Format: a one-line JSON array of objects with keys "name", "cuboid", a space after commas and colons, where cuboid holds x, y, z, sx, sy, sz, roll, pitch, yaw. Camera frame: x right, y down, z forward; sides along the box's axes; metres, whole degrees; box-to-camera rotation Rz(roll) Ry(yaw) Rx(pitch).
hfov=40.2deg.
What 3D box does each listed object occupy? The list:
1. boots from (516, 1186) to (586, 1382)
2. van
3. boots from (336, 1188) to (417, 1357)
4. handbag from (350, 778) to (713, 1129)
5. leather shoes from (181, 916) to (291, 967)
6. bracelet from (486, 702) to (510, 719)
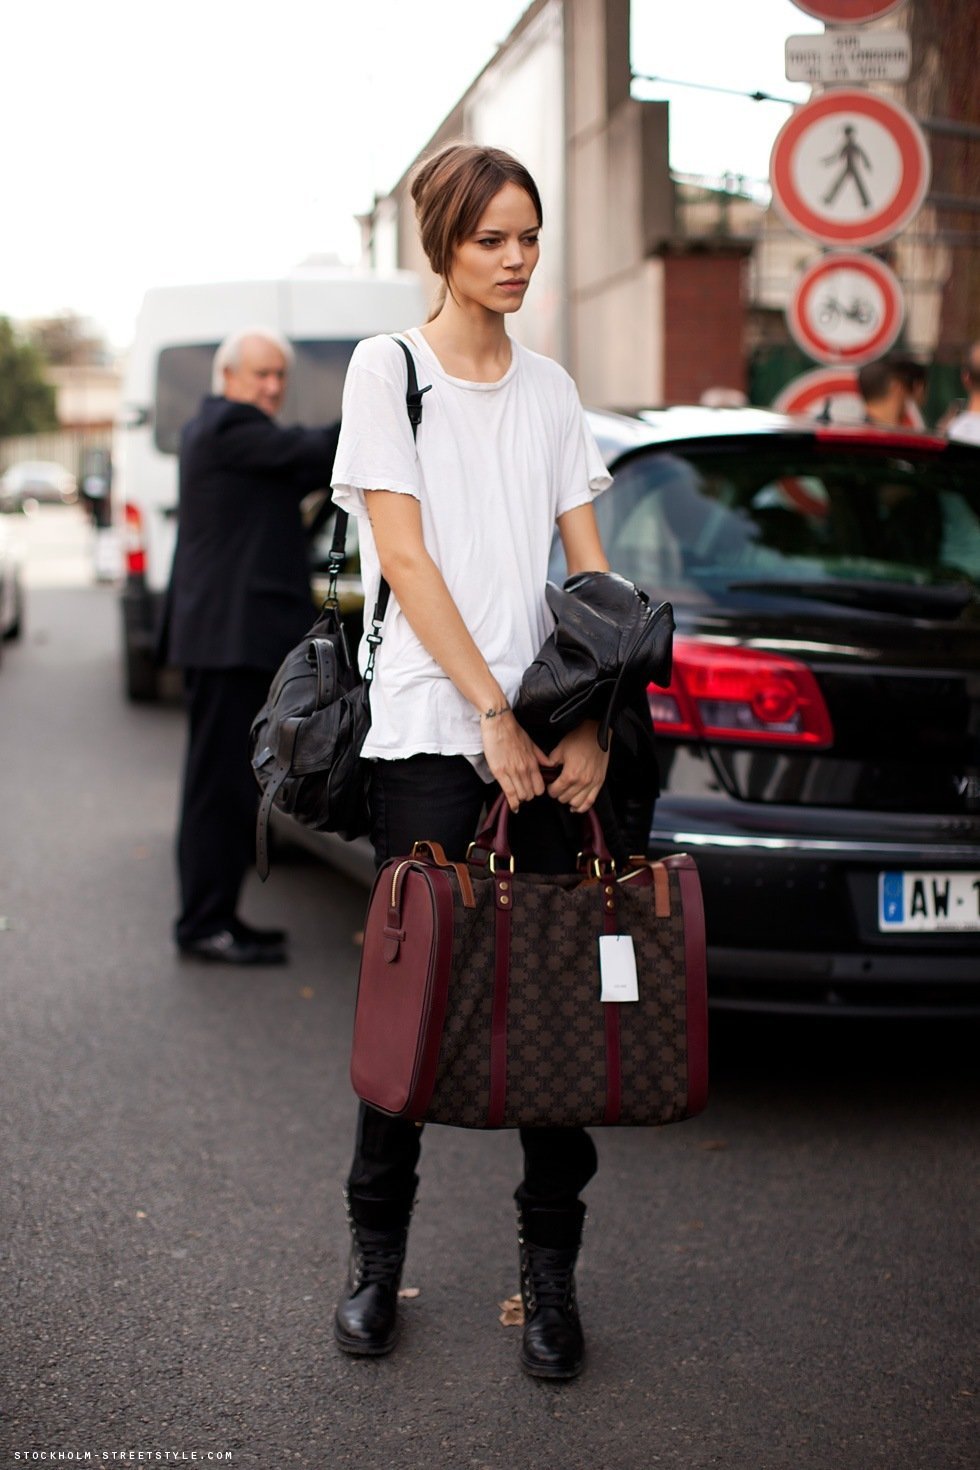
[{"name": "boots", "cuboid": [0.087, 0.767, 1.844, 0.076, 0.164, 0.236, 0, 2, 0]}, {"name": "van", "cuboid": [-1.331, -1.963, 12.043, 2.714, 2.936, 4.832, 2, 5, 6]}, {"name": "boots", "cuboid": [-0.170, 0.759, 1.893, 0.079, 0.153, 0.234, 7, 6, -3]}, {"name": "handbag", "cuboid": [0.048, 0.273, 1.651, 0.426, 0.435, 0.198, 3, -7, -16]}, {"name": "leather shoes", "cuboid": [-0.794, 0.655, 4.316, 0.398, 0.181, 0.138, -2, 2, -5]}, {"name": "bracelet", "cuboid": [0.009, -0.029, 1.614, 0.016, 0.008, 0.021, -12, -25, -32]}]
